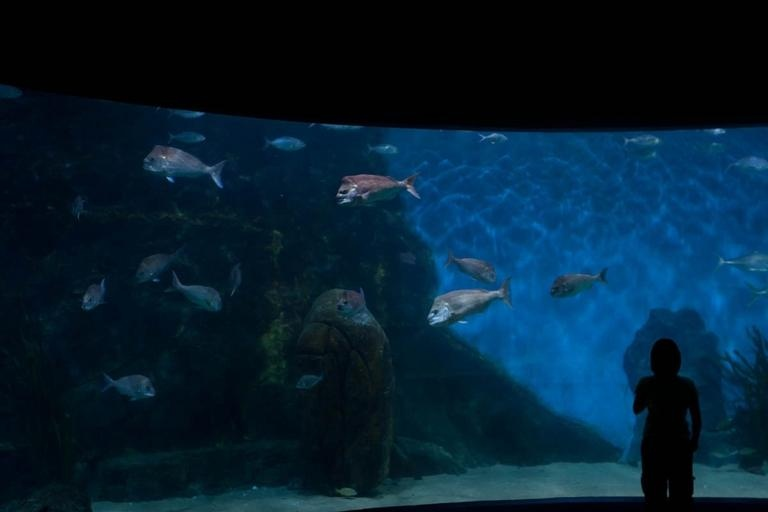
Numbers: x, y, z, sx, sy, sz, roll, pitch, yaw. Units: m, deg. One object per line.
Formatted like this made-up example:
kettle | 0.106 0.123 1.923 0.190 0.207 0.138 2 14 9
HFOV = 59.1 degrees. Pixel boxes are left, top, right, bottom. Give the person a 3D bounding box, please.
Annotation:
person | 6.507 3.805 15.526 1.368 3.818 0.501 -3 -3 17

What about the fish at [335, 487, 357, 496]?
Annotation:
fish | -1.004 6.457 18.609 0.607 0.220 0.064 6 2 18
